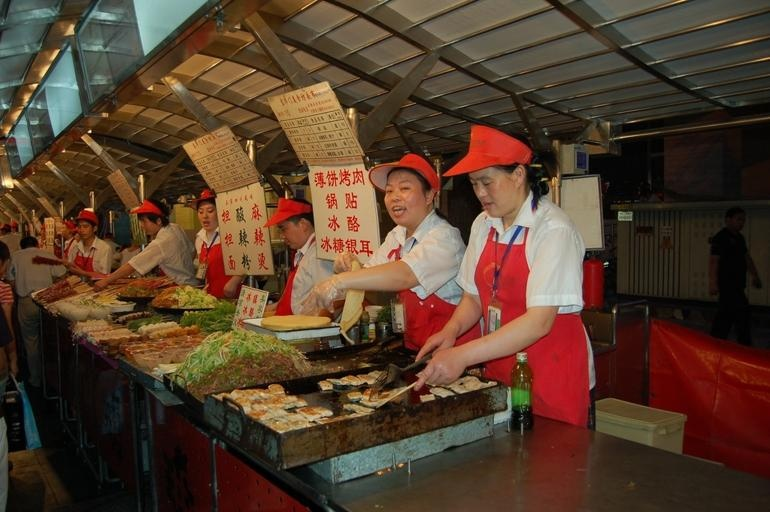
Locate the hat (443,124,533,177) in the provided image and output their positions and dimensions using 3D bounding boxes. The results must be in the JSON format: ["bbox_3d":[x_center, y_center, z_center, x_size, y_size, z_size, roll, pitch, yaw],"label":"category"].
[{"bbox_3d":[0.634,-0.676,3.239,0.607,0.260,0.401,-8,17,-25],"label":"hat"}]

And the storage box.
[{"bbox_3d":[1.923,1.336,4.033,0.425,0.305,0.581,-11,15,-42],"label":"storage box"}]

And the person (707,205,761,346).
[{"bbox_3d":[5.347,0.274,7.925,0.658,2.074,1.162,6,14,35],"label":"person"}]

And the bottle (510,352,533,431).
[{"bbox_3d":[0.769,0.790,2.911,0.114,0.374,0.107,-2,11,0],"label":"bottle"}]

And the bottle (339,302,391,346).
[{"bbox_3d":[-0.153,0.575,4.283,0.436,0.376,0.248,1,-5,-2],"label":"bottle"}]

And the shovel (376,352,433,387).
[{"bbox_3d":[0.171,0.646,3.050,0.058,0.114,0.520,-4,9,44],"label":"shovel"}]

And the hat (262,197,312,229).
[{"bbox_3d":[-0.955,-0.432,5.061,0.378,0.165,0.234,-14,4,-28],"label":"hat"}]
